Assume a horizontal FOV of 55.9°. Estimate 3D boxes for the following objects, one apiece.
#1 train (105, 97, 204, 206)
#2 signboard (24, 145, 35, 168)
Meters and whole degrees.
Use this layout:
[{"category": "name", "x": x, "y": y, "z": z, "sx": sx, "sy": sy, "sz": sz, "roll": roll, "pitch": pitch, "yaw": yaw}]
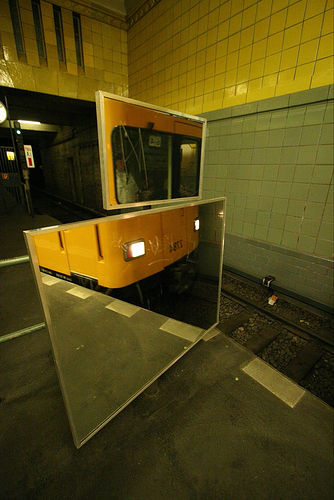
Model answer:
[{"category": "train", "x": -0.037, "y": -0.689, "z": 2.337, "sx": 0.019, "sy": 0.700, "sz": 1.120, "roll": 9, "pitch": 15, "yaw": 37}, {"category": "signboard", "x": -1.462, "y": -0.991, "z": 3.333, "sx": 0.018, "sy": 0.238, "sz": 0.101, "roll": 7, "pitch": 22, "yaw": 24}]
